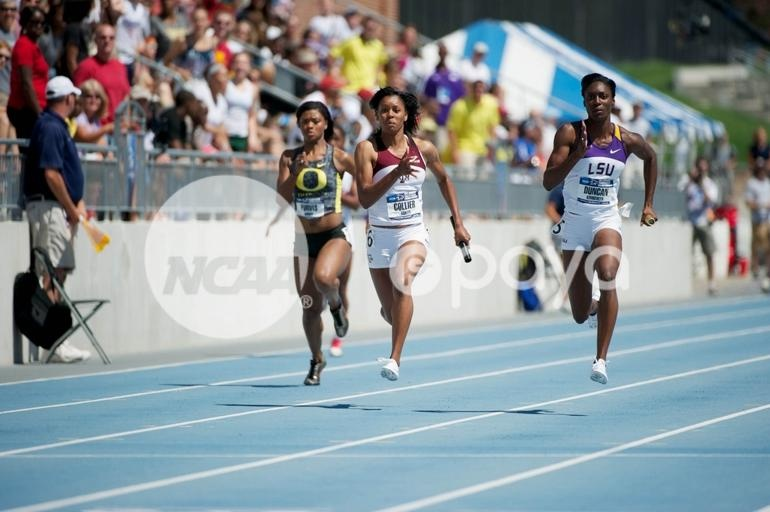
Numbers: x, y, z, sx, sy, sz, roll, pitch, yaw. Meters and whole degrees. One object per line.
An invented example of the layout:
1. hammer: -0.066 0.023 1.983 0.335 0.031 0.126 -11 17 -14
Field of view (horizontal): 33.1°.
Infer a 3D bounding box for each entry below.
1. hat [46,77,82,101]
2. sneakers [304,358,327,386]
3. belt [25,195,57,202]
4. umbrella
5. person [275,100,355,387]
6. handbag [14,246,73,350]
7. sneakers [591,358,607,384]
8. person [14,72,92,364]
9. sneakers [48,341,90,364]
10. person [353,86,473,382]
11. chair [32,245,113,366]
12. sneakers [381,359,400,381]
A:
1. hat: -4.103 -2.136 16.378 0.263 0.214 0.369 13 18 35
2. sneakers: -0.868 1.424 15.636 0.146 0.201 0.455 3 25 12
3. belt: -4.413 -0.742 16.477 0.396 0.104 0.072 3 8 17
4. umbrella: 4.039 -4.038 29.220 5.476 1.888 5.382 8 10 -14
5. person: -0.854 -0.299 15.194 0.832 3.047 0.794 2 7 14
6. handbag: -4.423 0.538 16.565 0.610 1.162 0.784 -21 -8 -37
7. sneakers: 2.380 1.331 14.469 0.150 0.301 0.313 1 8 7
8. person: -4.236 -0.421 16.534 0.774 3.751 0.575 -2 7 -16
9. sneakers: -4.139 1.302 16.954 0.587 0.304 0.210 0 10 -11
10. person: 0.192 -0.371 14.773 1.115 3.130 0.882 0 7 -2
11. chair: -4.067 0.997 16.774 0.635 1.107 0.833 -18 42 -29
12. sneakers: 0.035 1.314 14.512 0.190 0.267 0.347 0 8 -2
